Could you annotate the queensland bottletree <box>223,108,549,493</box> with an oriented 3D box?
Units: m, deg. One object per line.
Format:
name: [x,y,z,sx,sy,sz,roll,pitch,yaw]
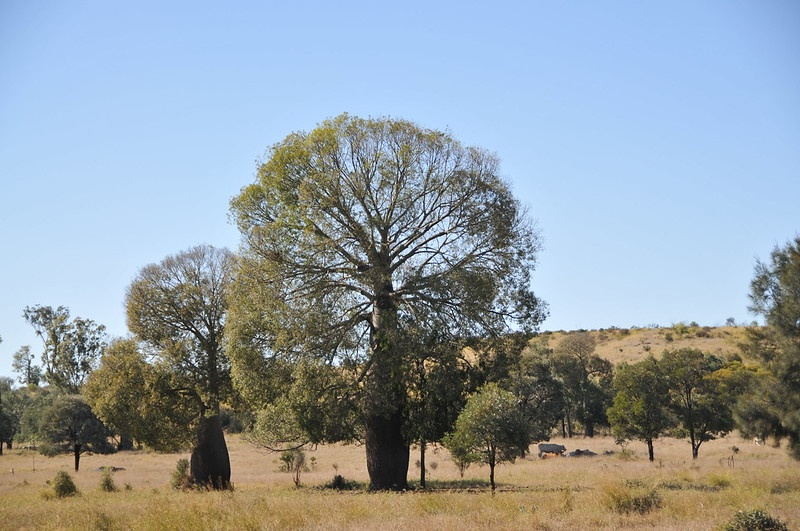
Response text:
queensland bottletree: [1.088,-1.534,90.226,33.306,29.296,32.185,2,-18,-7]
